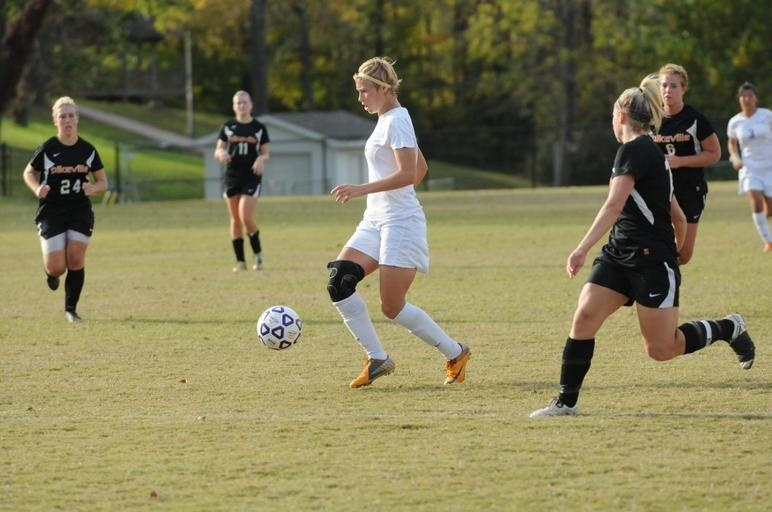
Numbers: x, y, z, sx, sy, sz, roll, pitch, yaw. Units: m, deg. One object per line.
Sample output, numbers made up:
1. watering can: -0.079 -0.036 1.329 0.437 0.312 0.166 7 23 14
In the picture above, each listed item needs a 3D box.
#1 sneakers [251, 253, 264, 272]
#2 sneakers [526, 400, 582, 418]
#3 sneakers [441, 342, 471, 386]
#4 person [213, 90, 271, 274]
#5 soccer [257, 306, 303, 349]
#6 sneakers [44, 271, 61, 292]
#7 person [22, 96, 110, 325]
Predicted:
1. sneakers: -1.919 0.103 19.661 0.158 0.228 0.304 1 8 -5
2. sneakers: 1.848 1.693 14.589 0.578 0.200 0.191 1 -7 -2
3. sneakers: 0.807 1.262 15.305 0.204 0.537 0.304 9 -1 35
4. person: -2.194 -1.127 19.889 0.747 2.579 1.292 1 8 -7
5. soccer: -1.330 0.912 16.102 0.554 0.496 0.513 3 -6 -10
6. sneakers: -4.611 0.362 18.186 0.115 0.334 0.141 -12 34 -9
7. person: -4.240 -0.601 17.417 1.004 2.898 0.815 0 8 -14
